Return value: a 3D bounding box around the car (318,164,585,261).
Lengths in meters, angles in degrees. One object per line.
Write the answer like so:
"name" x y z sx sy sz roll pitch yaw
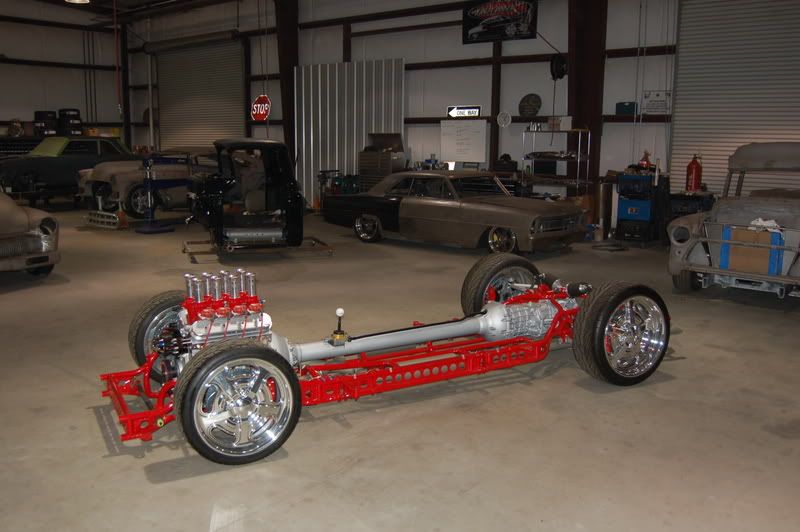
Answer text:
"car" 0.950 -1.082 10.205 4.513 1.468 1.045 9 16 34

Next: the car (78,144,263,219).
"car" -5.998 -2.013 12.599 3.519 1.580 2.246 -6 9 -30
